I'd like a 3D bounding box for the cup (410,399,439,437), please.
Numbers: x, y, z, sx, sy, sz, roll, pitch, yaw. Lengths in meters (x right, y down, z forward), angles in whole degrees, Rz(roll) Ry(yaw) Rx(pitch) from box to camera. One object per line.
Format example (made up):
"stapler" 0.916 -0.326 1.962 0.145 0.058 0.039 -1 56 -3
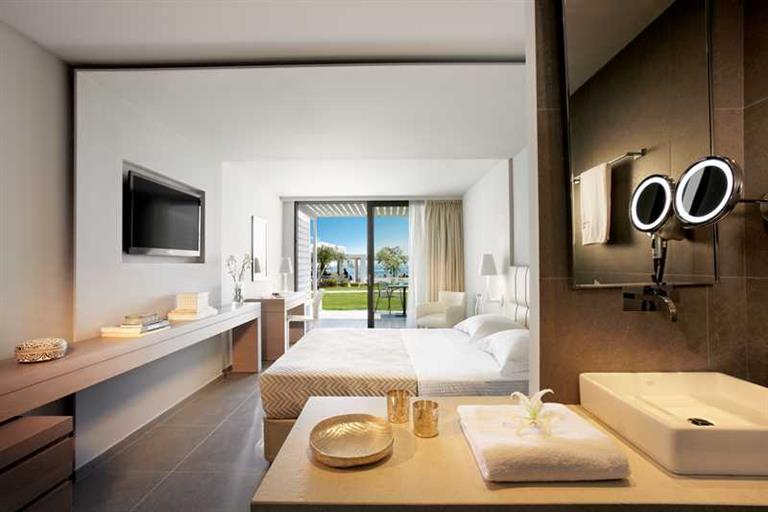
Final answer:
"cup" 0.206 0.819 2.608 0.151 0.159 0.153 0 2 0

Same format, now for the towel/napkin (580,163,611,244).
"towel/napkin" 1.130 -0.282 2.707 0.172 0.413 0.093 -1 12 -5

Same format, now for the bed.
"bed" 0.149 0.837 4.234 1.672 1.100 1.780 1 -5 4

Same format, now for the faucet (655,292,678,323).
"faucet" 1.451 0.261 2.610 0.056 0.077 0.295 2 8 15

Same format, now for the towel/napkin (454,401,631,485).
"towel/napkin" 0.725 0.875 2.367 0.418 0.116 0.423 0 5 -3

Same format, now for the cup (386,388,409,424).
"cup" 0.084 0.763 2.646 0.147 0.168 0.149 1 1 0

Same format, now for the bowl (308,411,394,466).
"bowl" -0.156 0.889 2.480 0.411 0.131 0.273 1 11 2

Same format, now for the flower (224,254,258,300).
"flower" -1.717 0.243 6.023 0.426 0.652 0.428 1 -4 -14
